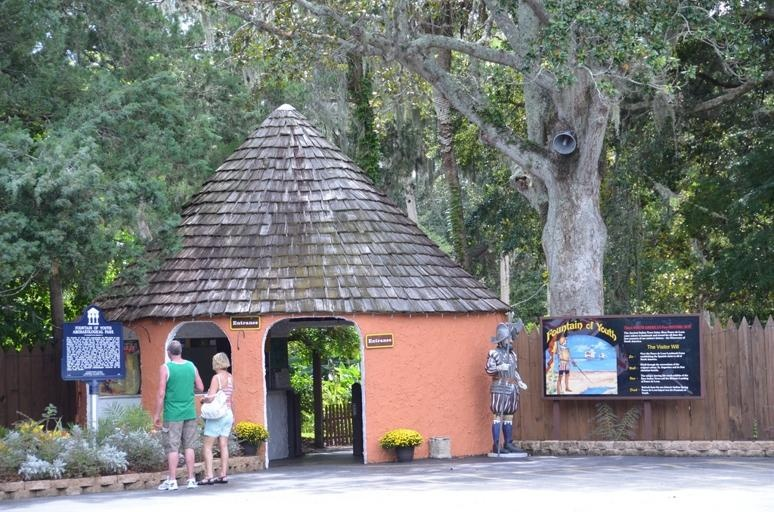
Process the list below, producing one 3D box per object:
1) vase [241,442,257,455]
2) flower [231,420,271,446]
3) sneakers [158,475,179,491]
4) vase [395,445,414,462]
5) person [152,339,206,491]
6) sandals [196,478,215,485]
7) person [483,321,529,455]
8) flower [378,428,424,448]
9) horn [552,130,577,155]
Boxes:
[{"bbox_3d":[-3.006,4.216,22.710,0.277,0.230,0.288,2,-2,-22],"label":"vase"},{"bbox_3d":[-2.988,3.858,22.621,0.474,0.328,0.549,4,1,5],"label":"flower"},{"bbox_3d":[-4.222,4.362,19.932,0.198,0.290,0.450,4,-5,-42],"label":"sneakers"},{"bbox_3d":[0.367,4.345,22.850,0.346,0.294,0.372,3,-4,5],"label":"vase"},{"bbox_3d":[-3.977,3.070,19.918,0.862,2.773,1.041,-2,-10,-1],"label":"person"},{"bbox_3d":[-3.558,4.396,20.281,0.363,0.163,0.142,4,-6,19],"label":"sandals"},{"bbox_3d":[2.683,2.963,23.577,0.847,2.967,1.280,-4,-10,6],"label":"person"},{"bbox_3d":[0.281,4.018,22.919,0.892,0.445,0.382,-2,-11,-5],"label":"flower"},{"bbox_3d":[4.165,-2.651,24.629,0.482,0.551,0.569,4,8,7],"label":"horn"}]
